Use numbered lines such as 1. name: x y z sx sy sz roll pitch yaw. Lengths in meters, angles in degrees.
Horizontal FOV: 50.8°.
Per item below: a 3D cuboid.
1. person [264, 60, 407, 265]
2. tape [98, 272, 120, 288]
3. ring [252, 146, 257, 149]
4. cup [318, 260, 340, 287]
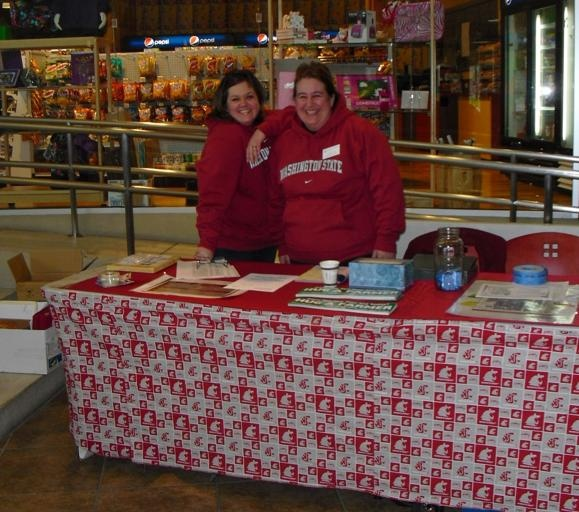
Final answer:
1. person: 0.172 -0.406 2.821 0.690 0.915 0.286 8 16 41
2. tape: -0.745 0.100 2.543 0.071 0.024 0.078 13 17 41
3. ring: -0.159 -0.500 2.838 0.030 0.018 0.010 -5 12 -15
4. cup: 0.155 0.066 2.391 0.113 0.079 0.082 1 10 5
